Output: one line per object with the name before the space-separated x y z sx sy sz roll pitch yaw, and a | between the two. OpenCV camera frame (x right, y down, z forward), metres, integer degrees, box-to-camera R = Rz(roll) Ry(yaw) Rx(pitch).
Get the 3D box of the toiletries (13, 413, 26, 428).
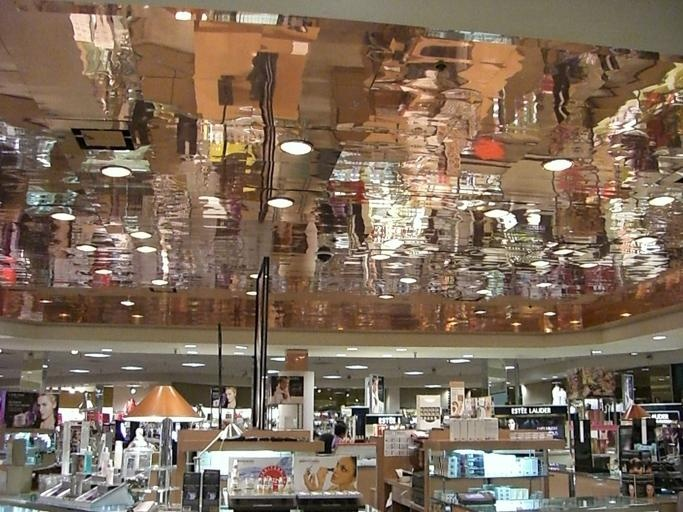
toiletries | -5.844 2.989 11.140 0.224 0.186 0.300 8 55 -25
